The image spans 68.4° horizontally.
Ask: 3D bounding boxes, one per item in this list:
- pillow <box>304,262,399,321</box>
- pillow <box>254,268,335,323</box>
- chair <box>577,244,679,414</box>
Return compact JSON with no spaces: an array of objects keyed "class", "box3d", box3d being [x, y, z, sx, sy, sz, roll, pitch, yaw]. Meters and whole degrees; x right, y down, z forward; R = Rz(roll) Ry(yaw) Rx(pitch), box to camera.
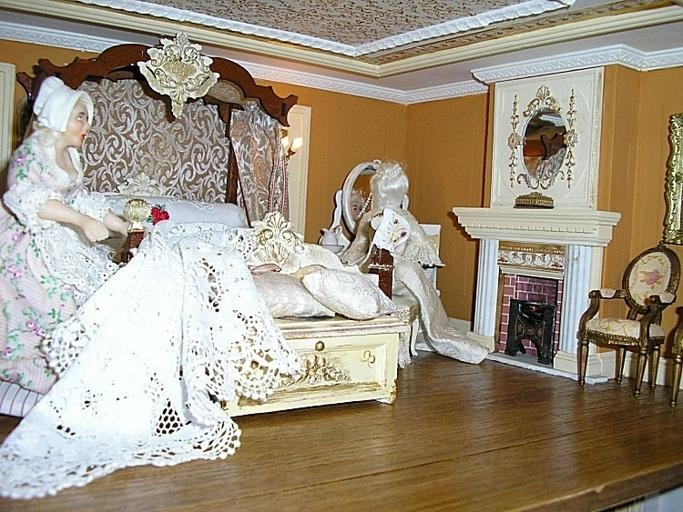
[{"class":"pillow","box3d":[0.065,0.242,3.209,0.415,0.138,0.368,11,19,-30]},{"class":"pillow","box3d":[-0.312,0.242,3.117,0.343,0.103,0.299,11,31,-47]},{"class":"chair","box3d":[2.532,0.516,4.462,0.667,1.166,0.822,8,4,42]}]
